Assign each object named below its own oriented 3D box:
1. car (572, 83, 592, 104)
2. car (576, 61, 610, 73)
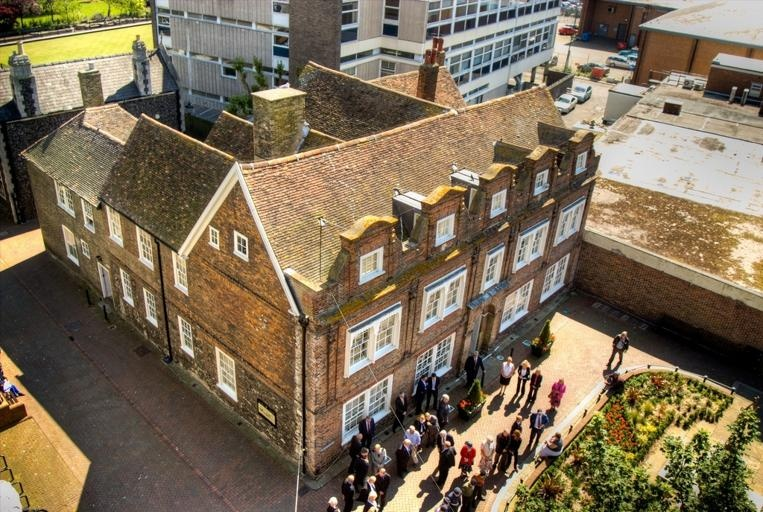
[{"bbox_3d":[24.781,-19.617,81.374,1.820,1.327,3.224,26,52,22],"label":"car"},{"bbox_3d":[29.906,-26.496,93.839,4.027,1.108,2.653,16,38,27],"label":"car"}]
